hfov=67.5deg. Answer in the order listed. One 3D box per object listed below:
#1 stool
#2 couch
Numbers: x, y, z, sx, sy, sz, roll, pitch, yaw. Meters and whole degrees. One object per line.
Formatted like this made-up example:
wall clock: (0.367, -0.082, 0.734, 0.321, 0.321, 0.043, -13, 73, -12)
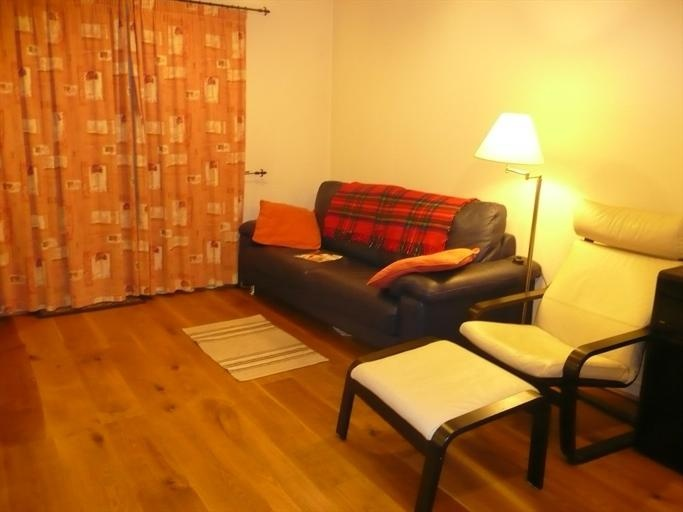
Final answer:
stool: (0.584, 0.808, 2.618, 0.908, 0.536, 0.798, -7, 20, -29)
couch: (0.155, -0.037, 4.426, 1.083, 1.049, 2.674, -8, 16, -33)
